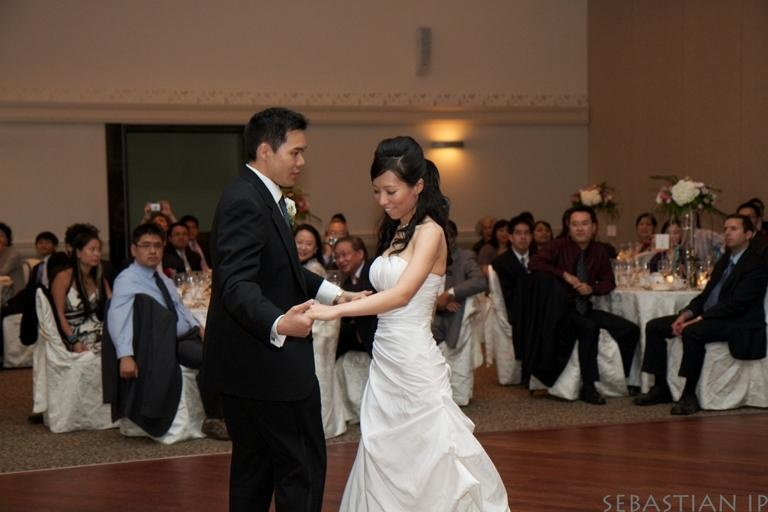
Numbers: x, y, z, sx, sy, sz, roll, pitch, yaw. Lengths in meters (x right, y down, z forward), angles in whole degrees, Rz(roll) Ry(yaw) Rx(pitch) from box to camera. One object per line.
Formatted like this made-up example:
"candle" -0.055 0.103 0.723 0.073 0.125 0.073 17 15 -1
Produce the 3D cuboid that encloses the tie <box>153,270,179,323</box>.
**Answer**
"tie" -1.919 0.377 5.696 0.049 0.455 0.073 -17 3 40

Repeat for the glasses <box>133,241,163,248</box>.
"glasses" -2.078 -0.095 5.713 0.232 0.067 0.098 -1 8 -1

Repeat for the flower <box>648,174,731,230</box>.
"flower" 3.655 -0.623 7.653 0.738 0.383 0.765 10 16 21

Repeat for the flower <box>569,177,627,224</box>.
"flower" 2.590 -0.768 8.009 0.629 0.197 0.681 18 22 37

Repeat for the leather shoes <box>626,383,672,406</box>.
"leather shoes" 2.503 1.316 6.151 0.398 0.290 0.158 2 -7 3

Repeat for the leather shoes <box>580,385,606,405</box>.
"leather shoes" 1.981 1.319 6.211 0.244 0.159 0.129 -1 2 43
